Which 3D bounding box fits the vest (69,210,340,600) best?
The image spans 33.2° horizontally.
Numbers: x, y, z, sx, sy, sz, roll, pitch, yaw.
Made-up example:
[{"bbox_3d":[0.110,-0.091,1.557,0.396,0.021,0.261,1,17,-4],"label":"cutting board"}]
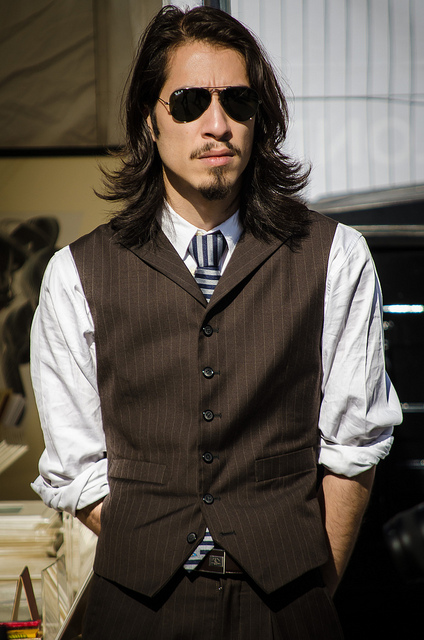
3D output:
[{"bbox_3d":[-0.006,0.188,1.853,0.796,0.778,0.861,-3,24,-6],"label":"vest"}]
